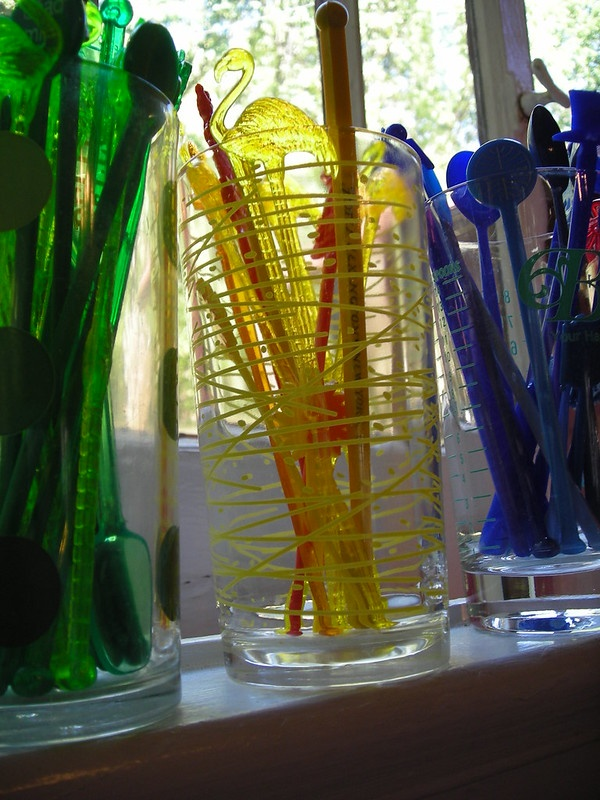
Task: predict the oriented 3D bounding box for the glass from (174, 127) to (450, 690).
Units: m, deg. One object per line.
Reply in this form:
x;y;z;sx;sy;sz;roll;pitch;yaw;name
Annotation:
0.015;-0.002;0.364;0.136;0.254;0.097;-4;-1;-9;glass
